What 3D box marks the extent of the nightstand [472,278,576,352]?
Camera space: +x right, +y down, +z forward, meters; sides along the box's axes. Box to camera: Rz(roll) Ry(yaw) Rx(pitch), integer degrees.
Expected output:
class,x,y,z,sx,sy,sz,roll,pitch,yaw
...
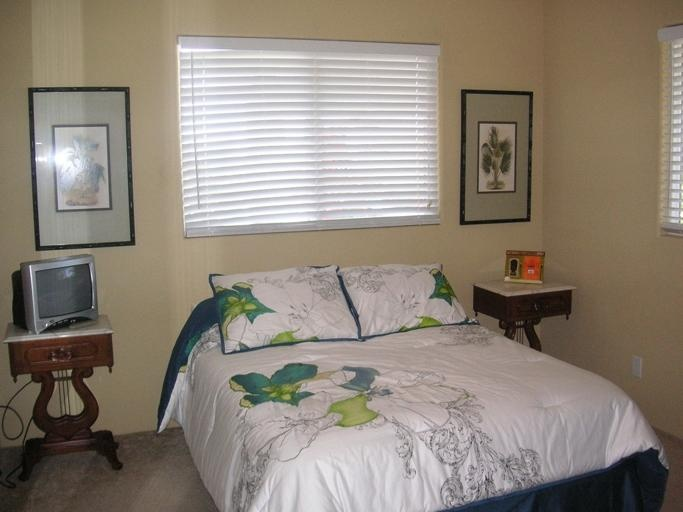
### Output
class,x,y,z,sx,sy,sz,roll,pitch,yaw
nightstand,1.467,0.311,4.376,0.622,0.713,0.555,-5,9,-25

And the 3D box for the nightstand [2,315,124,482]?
class,x,y,z,sx,sy,sz,roll,pitch,yaw
nightstand,-1.880,0.945,3.558,0.828,1.325,0.430,-3,9,-26
